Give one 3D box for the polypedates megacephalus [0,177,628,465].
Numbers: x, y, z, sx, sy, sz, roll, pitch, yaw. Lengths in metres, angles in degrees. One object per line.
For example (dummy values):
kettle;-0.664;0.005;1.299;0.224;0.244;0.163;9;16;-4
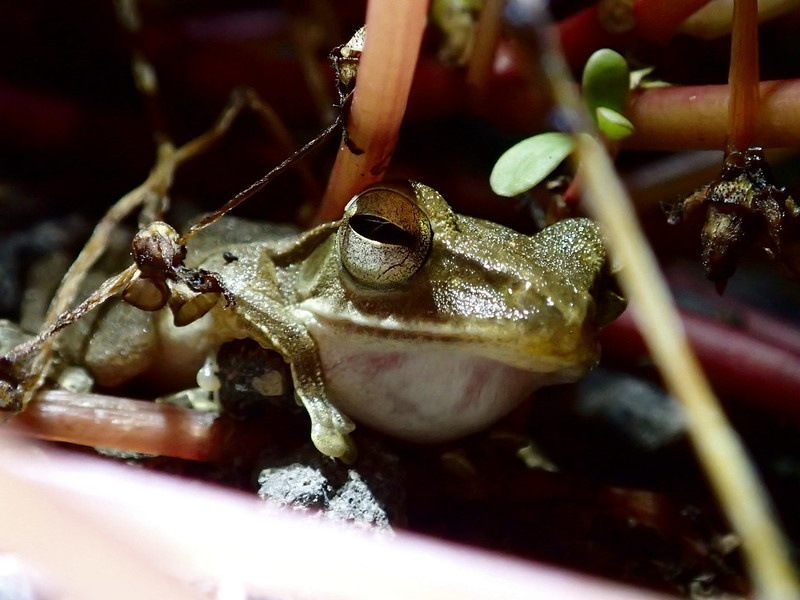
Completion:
polypedates megacephalus;-0.104;-0.011;1.198;0.623;0.522;0.241;26;93;40
